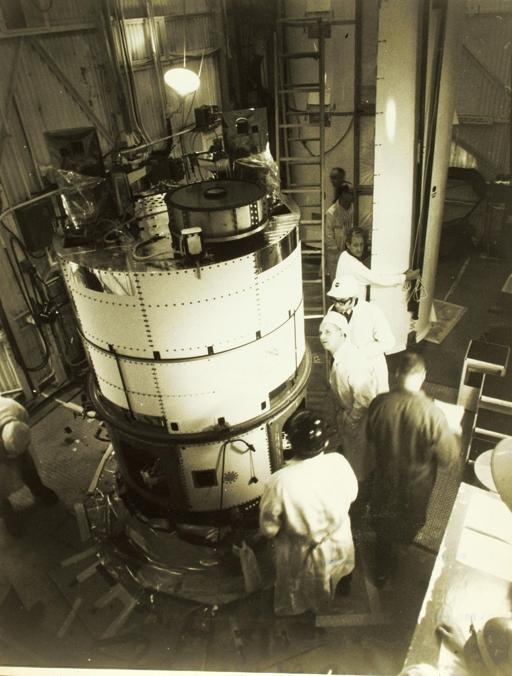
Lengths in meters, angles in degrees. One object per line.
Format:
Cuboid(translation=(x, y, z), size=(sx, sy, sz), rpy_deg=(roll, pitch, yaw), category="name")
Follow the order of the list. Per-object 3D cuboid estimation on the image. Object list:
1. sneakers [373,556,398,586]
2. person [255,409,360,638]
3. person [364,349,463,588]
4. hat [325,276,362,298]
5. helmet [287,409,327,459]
Cuboid(translation=(1.226, 2.196, 6.113), size=(0.167, 0.058, 0.242), rpy_deg=(4, 63, 19), category="sneakers")
Cuboid(translation=(0.454, 1.654, 5.696), size=(0.811, 1.753, 0.546), rpy_deg=(-27, 34, -34), category="person")
Cuboid(translation=(1.543, 1.367, 6.577), size=(0.897, 2.528, 0.811), rpy_deg=(4, 24, 9), category="person")
Cuboid(translation=(0.895, -0.497, 6.565), size=(0.306, 0.302, 0.182), rpy_deg=(-8, 28, -1), category="hat")
Cuboid(translation=(0.445, 0.839, 5.632), size=(0.332, 0.263, 0.437), rpy_deg=(-6, 28, 2), category="helmet")
